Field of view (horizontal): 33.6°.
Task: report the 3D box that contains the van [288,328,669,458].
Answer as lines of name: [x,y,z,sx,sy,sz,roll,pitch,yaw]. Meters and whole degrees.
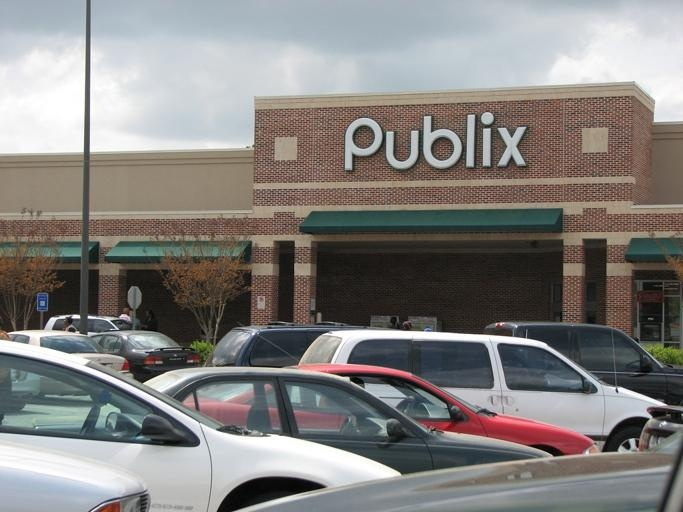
van: [2.354,2.282,18.725,5.174,1.499,2.269,0,-1,-3]

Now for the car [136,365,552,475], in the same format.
car: [-0.126,2.103,15.560,4.847,1.407,1.905,1,-1,-5]

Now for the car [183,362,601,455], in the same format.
car: [0.233,2.233,17.213,4.589,1.357,1.937,1,18,29]

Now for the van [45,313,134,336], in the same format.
van: [-7.173,1.954,32.661,2.340,0.773,1.019,-2,2,-4]

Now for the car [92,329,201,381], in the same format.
car: [-4.751,2.272,27.238,1.264,0.801,2.689,0,4,-45]

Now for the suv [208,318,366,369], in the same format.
suv: [-1.149,1.532,19.899,2.044,0.884,1.050,-2,2,-17]
